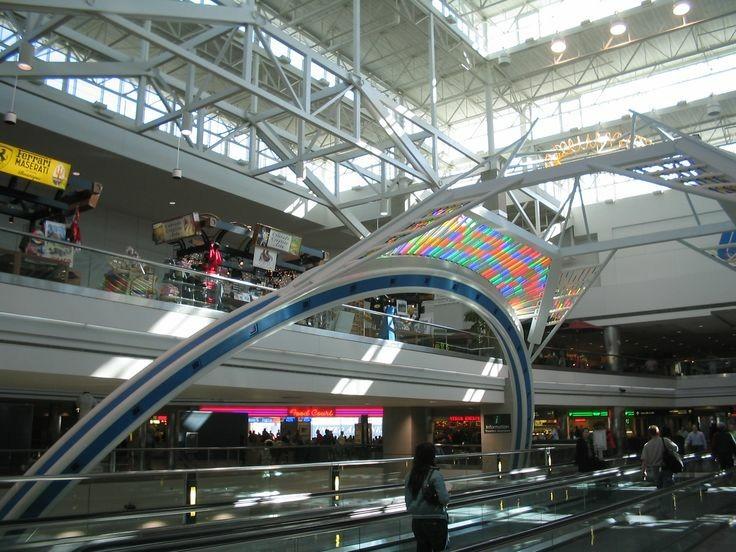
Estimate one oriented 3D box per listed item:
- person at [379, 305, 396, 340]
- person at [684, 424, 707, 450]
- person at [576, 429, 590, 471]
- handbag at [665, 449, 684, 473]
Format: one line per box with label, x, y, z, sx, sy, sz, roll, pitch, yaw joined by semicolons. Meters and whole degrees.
person;0.649;1.714;18.535;0.413;0.835;0.365;1;8;17
person;13.899;6.824;23.908;0.758;1.166;3.453;-9;-19;27
person;6.502;5.250;16.979;0.434;1.146;1.542;-6;-18;19
handbag;7.753;4.645;14.260;0.364;0.559;0.292;15;-24;-37
